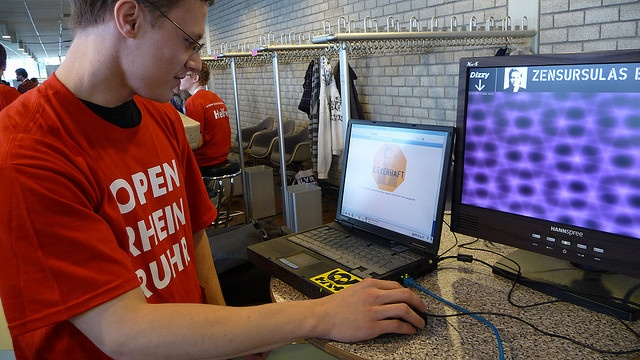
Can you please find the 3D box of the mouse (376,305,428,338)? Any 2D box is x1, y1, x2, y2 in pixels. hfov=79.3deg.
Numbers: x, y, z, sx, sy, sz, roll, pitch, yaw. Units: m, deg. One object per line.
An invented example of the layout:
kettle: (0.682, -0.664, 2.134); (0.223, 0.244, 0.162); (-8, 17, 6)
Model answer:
mouse: (0.244, 0.419, 1.157); (0.148, 0.031, 0.077); (1, 13, 7)

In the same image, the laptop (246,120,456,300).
laptop: (0.097, 0.084, 1.432); (0.689, 0.457, 0.599); (-14, 17, -21)

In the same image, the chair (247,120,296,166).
chair: (-0.636, -0.521, 5.549); (0.709, 0.571, 0.590); (-18, 25, -33)

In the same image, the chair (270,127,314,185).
chair: (-0.357, -0.354, 5.039); (0.561, 0.522, 0.554); (7, 20, 34)

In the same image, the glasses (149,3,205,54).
glasses: (-0.387, -0.416, 1.046); (0.034, 0.113, 0.109); (-45, 9, 0)
